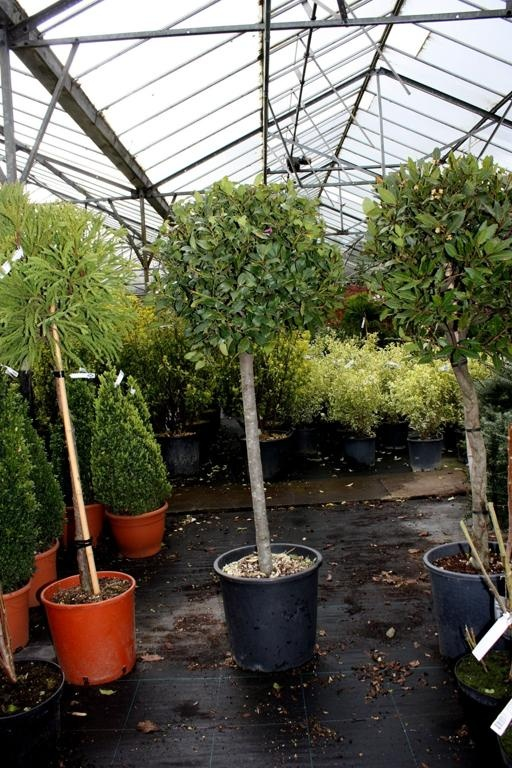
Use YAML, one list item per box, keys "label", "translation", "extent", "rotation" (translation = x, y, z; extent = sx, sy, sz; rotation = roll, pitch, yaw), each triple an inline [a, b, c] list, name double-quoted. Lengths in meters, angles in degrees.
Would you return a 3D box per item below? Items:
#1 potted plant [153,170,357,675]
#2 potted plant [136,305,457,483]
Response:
- label: "potted plant"
  translation: [0.035, 0.176, 2.684]
  extent: [0.844, 2.067, 0.629]
  rotation: [-4, 4, -9]
- label: "potted plant"
  translation: [0.564, 0.018, 6.837]
  extent: [2.475, 1.066, 2.035]
  rotation: [2, 4, 11]
